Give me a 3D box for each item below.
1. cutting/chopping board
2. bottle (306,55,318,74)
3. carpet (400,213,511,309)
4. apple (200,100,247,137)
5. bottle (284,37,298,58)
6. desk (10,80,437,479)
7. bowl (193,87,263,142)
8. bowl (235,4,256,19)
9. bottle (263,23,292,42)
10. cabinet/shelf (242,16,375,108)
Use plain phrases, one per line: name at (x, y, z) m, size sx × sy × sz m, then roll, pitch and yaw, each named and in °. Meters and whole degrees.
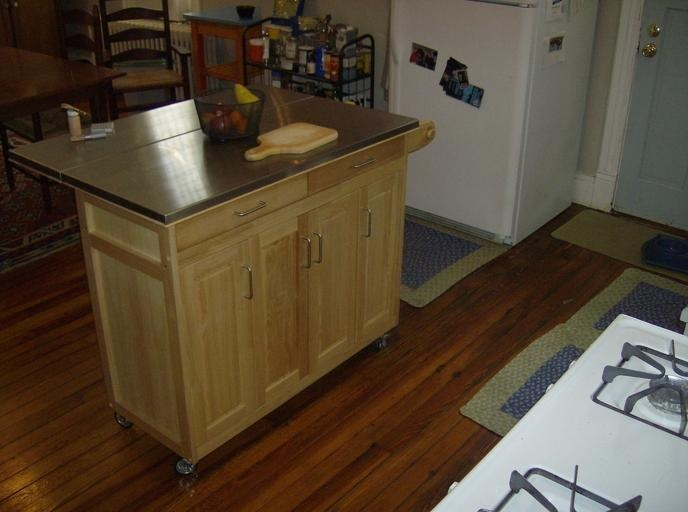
cutting/chopping board at (-0.222, -0.450, 2.146) m, size 0.299 × 0.030 × 0.177 m, roll -22°, pitch 36°, yaw -34°
bottle at (-0.244, -1.436, 4.133) m, size 0.067 × 0.121 × 0.051 m, roll -5°, pitch 32°, yaw -7°
carpet at (0.484, 0.009, 3.635) m, size 0.924 × 0.877 × 0.021 m, roll 3°, pitch 48°, yaw -5°
apple at (-0.472, -0.531, 2.142) m, size 0.153 × 0.070 × 0.149 m, roll -3°, pitch 34°, yaw -17°
bottle at (-0.403, -1.610, 4.222) m, size 0.135 × 0.166 × 0.052 m, roll 28°, pitch 43°, yaw 31°
desk at (-0.478, 0.056, 2.564) m, size 0.957 × 1.155 × 1.423 m, roll 17°, pitch 28°, yaw 35°
bowl at (-0.503, -0.575, 2.246) m, size 0.286 × 0.156 × 0.268 m, roll 7°, pitch 22°, yaw -3°
bowl at (-0.810, -1.998, 4.505) m, size 0.155 × 0.063 × 0.144 m, roll 0°, pitch 32°, yaw 0°
bottle at (-0.508, -1.795, 4.371) m, size 0.306 × 0.161 × 0.071 m, roll 6°, pitch 11°, yaw 31°
cabinet/shelf at (-0.243, -1.524, 4.255) m, size 0.706 × 0.627 × 0.274 m, roll 19°, pitch 38°, yaw 23°
